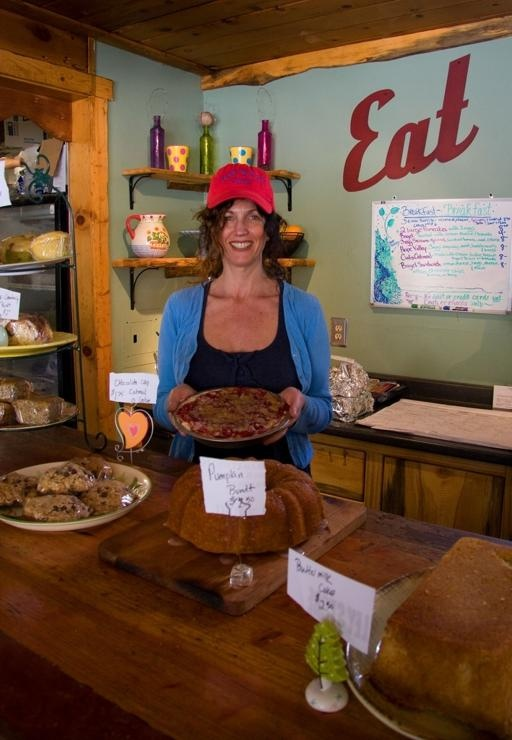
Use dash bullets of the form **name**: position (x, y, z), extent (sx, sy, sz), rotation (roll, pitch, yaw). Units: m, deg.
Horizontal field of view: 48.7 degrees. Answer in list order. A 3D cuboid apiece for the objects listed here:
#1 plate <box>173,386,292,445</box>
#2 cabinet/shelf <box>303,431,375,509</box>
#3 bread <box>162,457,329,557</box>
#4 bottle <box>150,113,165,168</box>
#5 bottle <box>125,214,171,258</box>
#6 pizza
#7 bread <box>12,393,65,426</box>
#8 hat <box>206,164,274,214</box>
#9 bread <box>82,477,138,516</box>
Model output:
- **plate**: position (-0.041, 0.090, 1.376), extent (0.252, 0.043, 0.249), rotation (-17, -37, 22)
- **cabinet/shelf**: position (0.315, 0.463, 2.480), extent (0.305, 0.266, 0.161), rotation (14, -31, -8)
- **bread**: position (-0.054, 0.275, 1.159), extent (0.341, 0.109, 0.324), rotation (5, 3, 13)
- **bottle**: position (-0.573, -1.300, 3.240), extent (0.093, 0.297, 0.133), rotation (-5, 10, -9)
- **bottle**: position (-0.617, -0.754, 3.172), extent (0.283, 0.247, 0.230), rotation (-1, 15, -13)
- **pizza**: position (-0.060, 0.106, 1.376), extent (0.272, 0.043, 0.266), rotation (-3, 27, 0)
- **bread**: position (-0.542, 0.101, 1.409), extent (0.126, 0.055, 0.143), rotation (-7, 11, -22)
- **hat**: position (-0.051, -0.550, 1.688), extent (0.208, 0.131, 0.264), rotation (-1, 22, -12)
- **bread**: position (-0.317, 0.269, 1.217), extent (0.071, 0.023, 0.074), rotation (-8, 14, -42)
